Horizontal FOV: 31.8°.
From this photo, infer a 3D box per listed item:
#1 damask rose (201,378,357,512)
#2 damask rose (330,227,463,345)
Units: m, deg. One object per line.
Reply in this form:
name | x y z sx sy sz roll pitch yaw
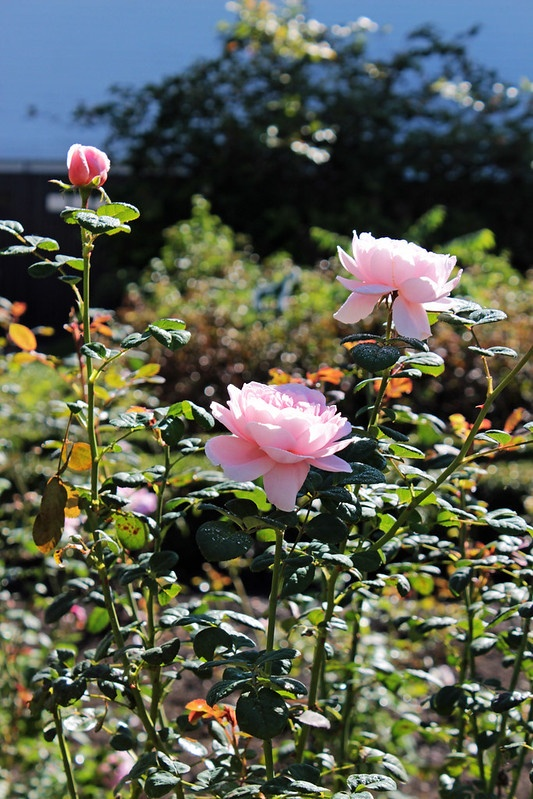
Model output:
damask rose | 0.020 0.052 1.286 0.233 0.120 0.212 9 14 2
damask rose | 0.179 -0.153 1.409 0.200 0.121 0.159 18 39 9
